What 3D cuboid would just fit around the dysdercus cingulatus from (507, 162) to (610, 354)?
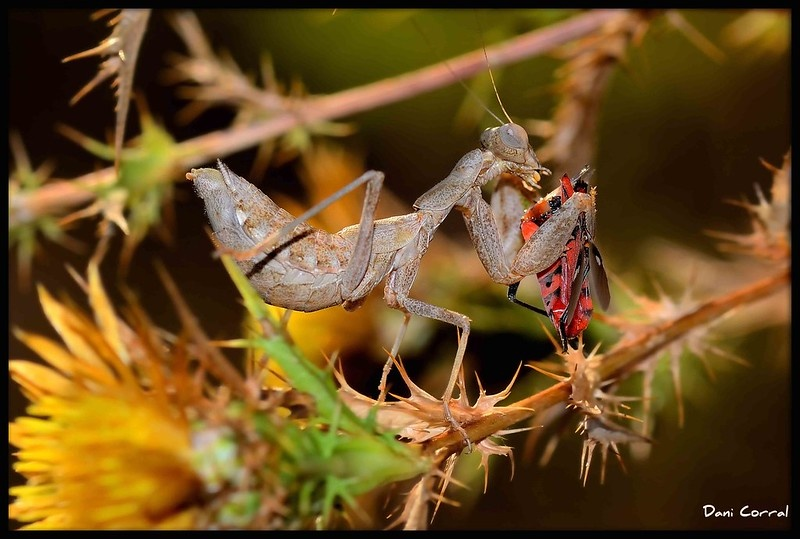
[{"bbox_3d":[0.362,-0.019,1.704,0.227,0.420,0.268,-4,12,8],"label":"dysdercus cingulatus"}]
